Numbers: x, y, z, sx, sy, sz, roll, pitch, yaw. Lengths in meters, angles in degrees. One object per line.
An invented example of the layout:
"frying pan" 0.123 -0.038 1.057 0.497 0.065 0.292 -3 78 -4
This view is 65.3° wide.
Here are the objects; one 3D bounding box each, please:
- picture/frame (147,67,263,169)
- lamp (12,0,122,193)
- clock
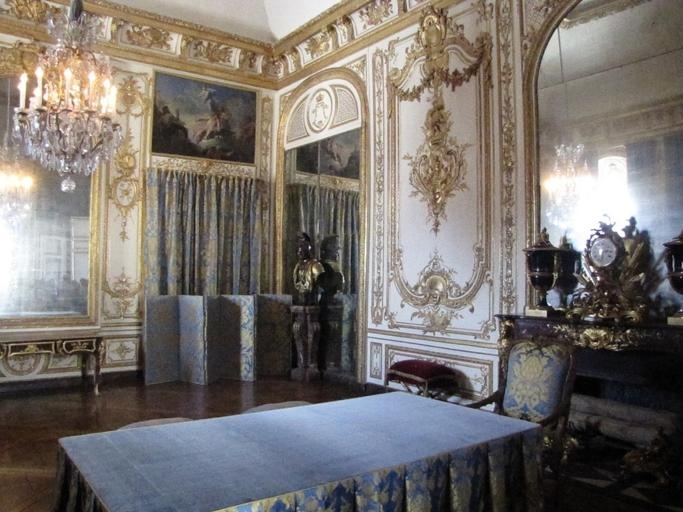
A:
"picture/frame" -2.131 -2.080 8.005 1.401 1.206 0.051 4 -7 -33
"lamp" -2.664 -1.648 5.194 0.914 1.631 0.527 -2 9 -26
"clock" 2.227 0.135 4.561 0.534 0.902 0.577 3 15 36
